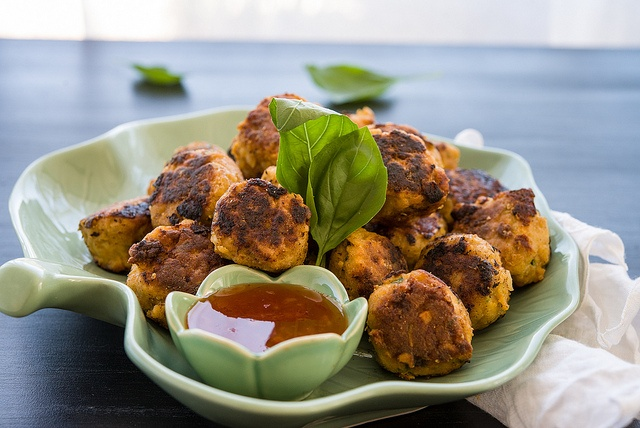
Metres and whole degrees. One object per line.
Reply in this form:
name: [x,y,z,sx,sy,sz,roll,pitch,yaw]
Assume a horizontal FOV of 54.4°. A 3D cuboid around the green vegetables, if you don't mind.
green vegetables: [0.116,-0.081,2.438,0.194,0.484,0.291,3,13,17]
